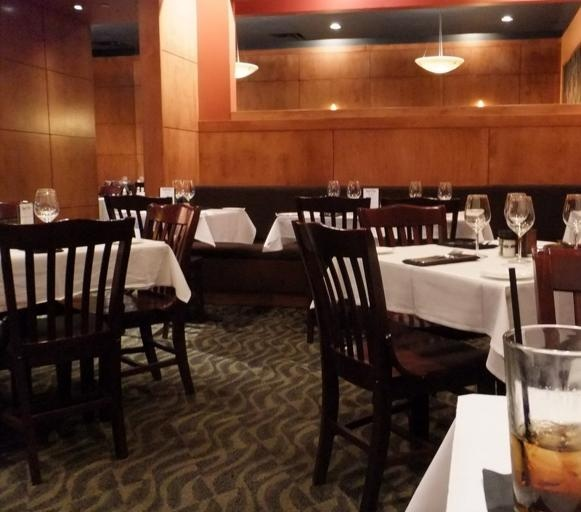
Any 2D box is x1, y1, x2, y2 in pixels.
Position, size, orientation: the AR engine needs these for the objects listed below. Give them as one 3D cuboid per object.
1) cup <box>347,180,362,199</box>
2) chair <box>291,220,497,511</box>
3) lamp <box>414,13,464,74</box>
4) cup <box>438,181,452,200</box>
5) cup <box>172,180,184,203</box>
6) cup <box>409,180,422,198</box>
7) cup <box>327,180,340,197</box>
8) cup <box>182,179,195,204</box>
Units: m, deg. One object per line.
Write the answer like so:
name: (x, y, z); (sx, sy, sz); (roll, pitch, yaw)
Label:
cup: (0.644, -0.674, 4.924); (0.124, 0.149, 0.312); (0, 9, 4)
chair: (0.288, 0.262, 2.280); (0.863, 1.408, 0.852); (-9, 13, -31)
lamp: (3.055, -4.343, 10.005); (0.967, 1.325, 0.975); (-8, 10, -37)
cup: (1.568, -0.663, 4.945); (0.108, 0.156, 0.259); (1, 9, 14)
cup: (-1.066, -0.594, 4.570); (0.133, 0.274, 0.144); (0, 8, 0)
cup: (1.327, -0.709, 5.191); (0.114, 0.162, 0.293); (1, 9, 11)
cup: (0.466, -0.719, 5.196); (0.111, 0.146, 0.305); (0, 9, 3)
cup: (-0.957, -0.603, 4.580); (0.100, 0.209, 0.271); (-1, 9, -5)
